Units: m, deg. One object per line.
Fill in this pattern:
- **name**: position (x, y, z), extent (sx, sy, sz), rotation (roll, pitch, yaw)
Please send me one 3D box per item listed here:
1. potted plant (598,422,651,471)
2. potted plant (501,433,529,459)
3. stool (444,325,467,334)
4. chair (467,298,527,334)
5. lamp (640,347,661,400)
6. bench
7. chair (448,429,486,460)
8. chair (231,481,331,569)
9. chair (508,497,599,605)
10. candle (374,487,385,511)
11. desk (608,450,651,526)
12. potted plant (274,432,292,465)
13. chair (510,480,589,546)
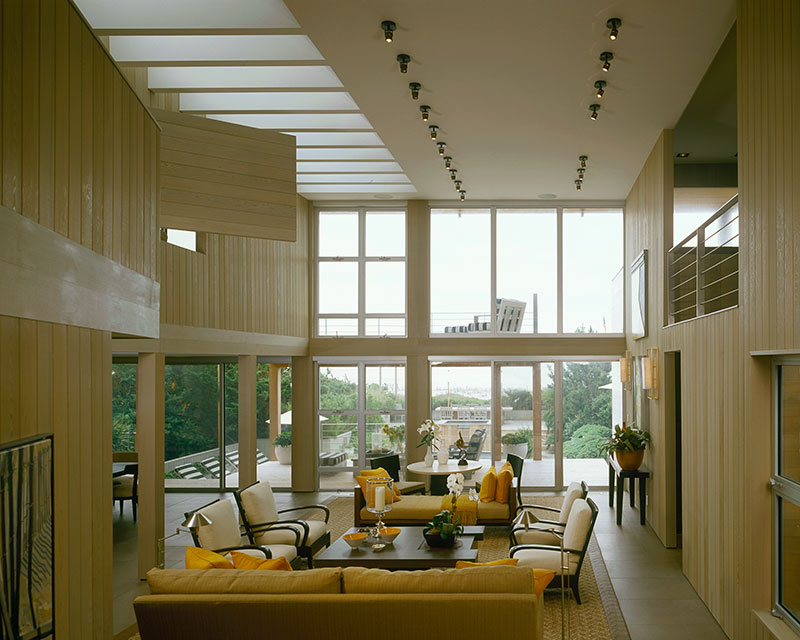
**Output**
- **potted plant**: position (3.630, 1.998, 10.380), extent (0.597, 0.619, 0.628), rotation (1, -4, -10)
- **potted plant**: position (2.318, 2.471, 12.942), extent (0.564, 0.463, 0.593), rotation (-1, -4, 36)
- **stool**: position (1.146, 0.178, 13.275), extent (0.483, 0.183, 0.136), rotation (1, -6, -11)
- **chair**: position (1.956, -0.087, 13.425), extent (0.625, 1.031, 1.059), rotation (5, -4, -41)
- **lamp**: position (3.802, 0.805, 9.733), extent (0.193, 0.749, 0.834), rotation (-2, -6, 18)
- **bench**: position (0.604, 2.772, 9.477), extent (1.504, 0.470, 1.142), rotation (0, -2, 5)
- **chair**: position (1.365, 2.405, 12.593), extent (0.498, 0.814, 0.706), rotation (-3, -9, 31)
- **chair**: position (-1.486, 2.636, 8.330), extent (1.252, 0.984, 1.278), rotation (1, -7, -39)
- **chair**: position (1.746, 2.492, 7.296), extent (0.930, 1.009, 0.742), rotation (-4, 10, 16)
- **candle**: position (-0.228, 1.998, 7.251), extent (0.114, 0.293, 0.270), rotation (0, -6, -5)
- **desk**: position (3.787, 2.747, 10.610), extent (0.316, 0.567, 1.170), rotation (-1, -3, 7)
- **potted plant**: position (-2.810, 3.059, 15.395), extent (0.515, 0.724, 0.256), rotation (-4, -6, 31)
- **chair**: position (1.808, 2.454, 8.053), extent (0.856, 0.864, 0.654), rotation (3, -2, 19)
